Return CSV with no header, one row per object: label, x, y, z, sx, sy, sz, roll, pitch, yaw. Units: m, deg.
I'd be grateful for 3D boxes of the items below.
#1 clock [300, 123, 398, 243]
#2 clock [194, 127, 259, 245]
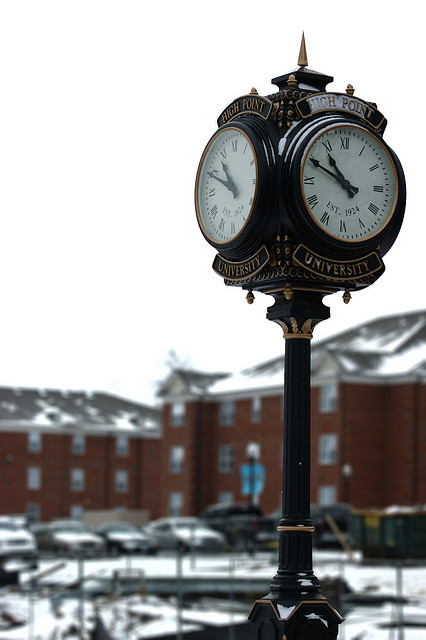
clock,0.805,-0.817,8.017,0.724,0.729,0.050,3,-4,-28
clock,0.109,-0.817,8.215,0.055,0.720,0.709,4,-5,-32
